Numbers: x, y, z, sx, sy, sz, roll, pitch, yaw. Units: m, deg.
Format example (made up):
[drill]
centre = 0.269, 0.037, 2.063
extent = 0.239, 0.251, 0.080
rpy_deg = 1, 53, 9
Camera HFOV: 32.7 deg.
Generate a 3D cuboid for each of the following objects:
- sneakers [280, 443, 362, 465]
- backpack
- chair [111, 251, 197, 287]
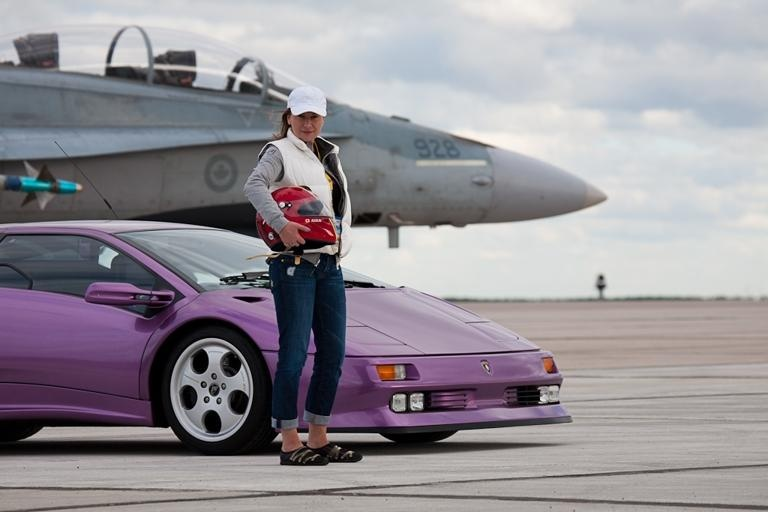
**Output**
[sneakers]
centre = -0.445, 1.406, 9.176
extent = 0.461, 0.104, 0.196
rpy_deg = -4, 0, -20
[backpack]
centre = -0.600, -0.242, 9.138
extent = 0.574, 0.419, 0.262
rpy_deg = 2, 1, -3
[chair]
centre = -1.945, 0.098, 10.165
extent = 0.501, 0.104, 0.249
rpy_deg = 16, 12, 14
